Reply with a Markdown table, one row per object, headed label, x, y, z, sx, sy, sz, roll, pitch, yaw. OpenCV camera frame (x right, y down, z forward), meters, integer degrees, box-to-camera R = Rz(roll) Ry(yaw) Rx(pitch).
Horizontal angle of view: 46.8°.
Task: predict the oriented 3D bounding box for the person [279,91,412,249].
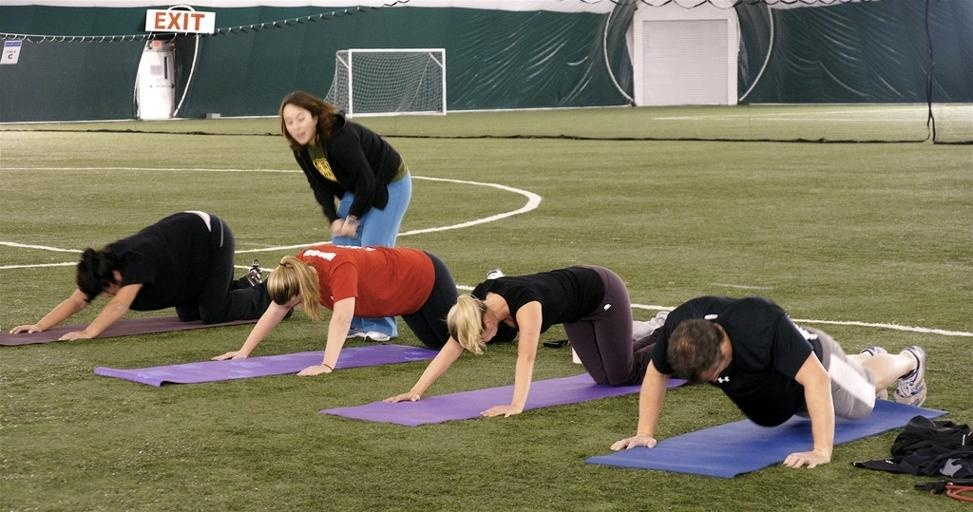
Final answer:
| label | x | y | z | sx | sy | sz | roll | pitch | yaw |
| --- | --- | --- | --- | --- | --- | --- | --- | --- | --- |
| person | -1.604 | -0.983 | 12.990 | 1.438 | 1.829 | 0.539 | -3 | 17 | -7 |

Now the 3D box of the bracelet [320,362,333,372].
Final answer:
| label | x | y | z | sx | sy | sz | roll | pitch | yaw |
| --- | --- | --- | --- | --- | --- | --- | --- | --- | --- |
| bracelet | -1.707 | 1.199 | 12.111 | 0.125 | 0.056 | 0.084 | 23 | 14 | 15 |

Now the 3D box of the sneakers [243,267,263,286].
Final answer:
| label | x | y | z | sx | sy | sz | roll | pitch | yaw |
| --- | --- | --- | --- | --- | --- | --- | --- | --- | --- |
| sneakers | -2.869 | 0.248 | 13.771 | 0.208 | 0.098 | 0.284 | 9 | 2 | -26 |

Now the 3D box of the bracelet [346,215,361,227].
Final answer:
| label | x | y | z | sx | sy | sz | roll | pitch | yaw |
| --- | --- | --- | --- | --- | --- | --- | --- | --- | --- |
| bracelet | -1.542 | -0.412 | 12.997 | 0.139 | 0.101 | 0.122 | -1 | -4 | 3 |

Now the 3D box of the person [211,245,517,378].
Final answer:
| label | x | y | z | sx | sy | sz | roll | pitch | yaw |
| --- | --- | --- | --- | --- | --- | --- | --- | --- | --- |
| person | -1.124 | 0.519 | 12.848 | 3.424 | 1.053 | 1.432 | -2 | -2 | -43 |

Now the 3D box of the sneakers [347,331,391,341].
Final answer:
| label | x | y | z | sx | sy | sz | roll | pitch | yaw |
| --- | --- | --- | --- | --- | --- | --- | --- | --- | --- |
| sneakers | -1.439 | 0.932 | 13.103 | 0.658 | 0.135 | 0.085 | 1 | 12 | -2 |

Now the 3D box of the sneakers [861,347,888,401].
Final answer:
| label | x | y | z | sx | sy | sz | roll | pitch | yaw |
| --- | --- | --- | --- | --- | --- | --- | --- | --- | --- |
| sneakers | 3.872 | 1.173 | 11.265 | 0.271 | 0.494 | 0.177 | -11 | -26 | -6 |
